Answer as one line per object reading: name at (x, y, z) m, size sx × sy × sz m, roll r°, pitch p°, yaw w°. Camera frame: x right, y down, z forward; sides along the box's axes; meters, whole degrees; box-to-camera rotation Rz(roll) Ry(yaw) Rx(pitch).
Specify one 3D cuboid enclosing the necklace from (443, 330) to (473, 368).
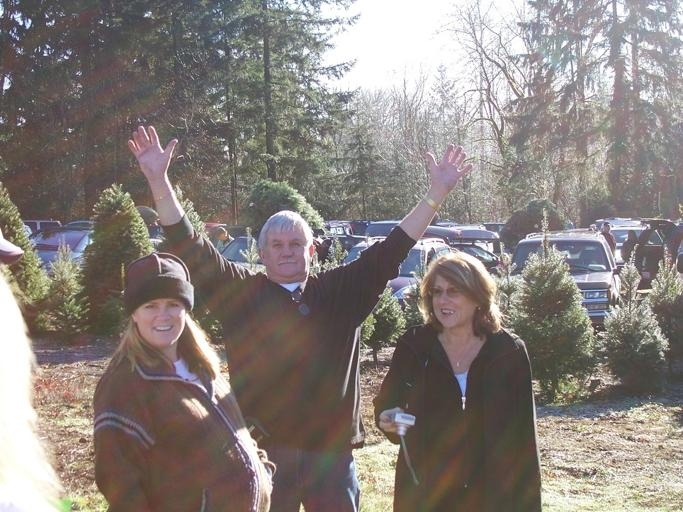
necklace at (1.034, 0.805, 6.372) m, size 0.199 × 0.363 × 0.164 m, roll -2°, pitch -17°, yaw 2°

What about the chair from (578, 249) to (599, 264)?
chair at (5.044, 0.026, 14.664) m, size 0.461 × 0.293 × 0.277 m, roll -2°, pitch -4°, yaw 24°

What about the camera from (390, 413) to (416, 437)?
camera at (0.523, 1.407, 6.221) m, size 0.211 × 0.268 × 0.148 m, roll 14°, pitch -13°, yaw -32°

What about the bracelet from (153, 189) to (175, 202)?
bracelet at (-1.502, -0.498, 6.197) m, size 0.087 × 0.093 × 0.104 m, roll -1°, pitch 1°, yaw 6°

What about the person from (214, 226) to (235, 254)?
person at (-3.003, -0.388, 18.403) m, size 0.232 × 0.821 × 0.711 m, roll -26°, pitch -22°, yaw -21°

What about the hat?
hat at (-1.408, 0.200, 5.493) m, size 0.374 × 0.439 × 0.459 m, roll -3°, pitch -10°, yaw -13°
